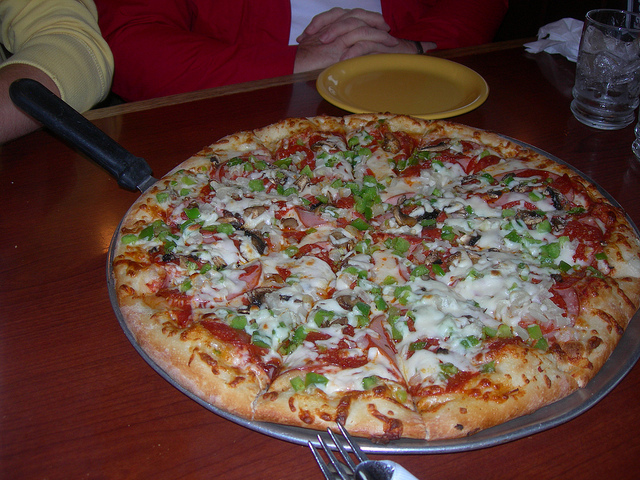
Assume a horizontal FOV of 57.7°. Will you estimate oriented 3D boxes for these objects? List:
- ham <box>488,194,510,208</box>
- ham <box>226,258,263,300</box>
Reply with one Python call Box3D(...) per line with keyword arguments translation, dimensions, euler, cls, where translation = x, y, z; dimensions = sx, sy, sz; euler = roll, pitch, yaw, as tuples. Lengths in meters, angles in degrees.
Box3D(translation=(0.867, -0.185, 2.822), dimensions=(0.083, 0.021, 0.067), euler=(-45, 52, -7), cls="ham")
Box3D(translation=(-0.302, 0.162, 2.602), dimensions=(0.182, 0.039, 0.169), euler=(-34, 49, -9), cls="ham")
